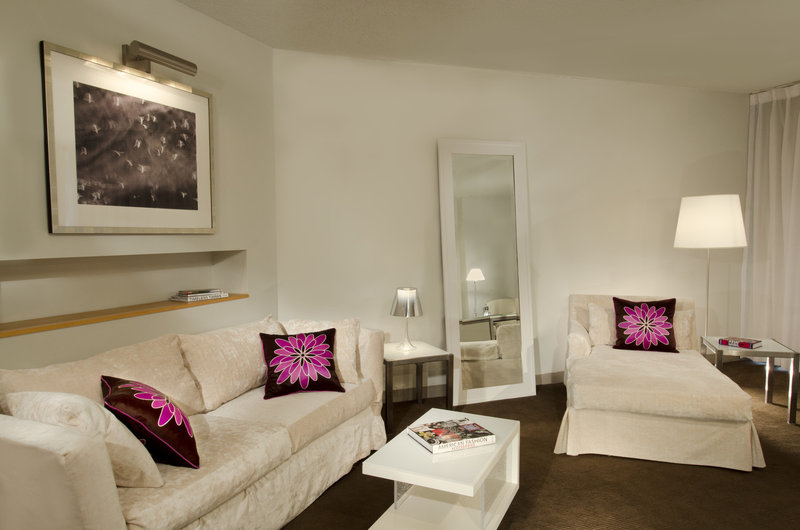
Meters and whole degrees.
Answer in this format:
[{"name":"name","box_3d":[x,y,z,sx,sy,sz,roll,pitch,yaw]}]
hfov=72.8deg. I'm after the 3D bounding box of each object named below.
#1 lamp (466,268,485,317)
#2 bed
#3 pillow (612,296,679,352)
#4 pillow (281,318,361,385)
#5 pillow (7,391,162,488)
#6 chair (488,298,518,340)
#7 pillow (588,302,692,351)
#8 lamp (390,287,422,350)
[{"name":"lamp","box_3d":[0.734,0.264,5.263,0.180,0.466,0.060,-2,3,-22]},{"name":"bed","box_3d":[2.060,0.878,4.639,1.236,0.970,1.492,-1,-4,14]},{"name":"pillow","box_3d":[2.224,0.560,4.979,0.514,0.491,0.157,4,-6,8]},{"name":"pillow","box_3d":[-0.507,0.687,4.388,0.557,0.523,0.179,4,-17,-22]},{"name":"pillow","box_3d":[-1.745,0.975,2.943,0.813,0.550,0.223,-1,2,-1]},{"name":"chair","box_3d":[0.982,0.486,5.313,0.290,0.395,0.351,0,-8,1]},{"name":"pillow","box_3d":[2.115,0.593,5.327,0.663,0.526,0.194,-4,-10,18]},{"name":"lamp","box_3d":[0.052,0.485,4.971,0.256,0.540,0.470,-1,2,0]}]
